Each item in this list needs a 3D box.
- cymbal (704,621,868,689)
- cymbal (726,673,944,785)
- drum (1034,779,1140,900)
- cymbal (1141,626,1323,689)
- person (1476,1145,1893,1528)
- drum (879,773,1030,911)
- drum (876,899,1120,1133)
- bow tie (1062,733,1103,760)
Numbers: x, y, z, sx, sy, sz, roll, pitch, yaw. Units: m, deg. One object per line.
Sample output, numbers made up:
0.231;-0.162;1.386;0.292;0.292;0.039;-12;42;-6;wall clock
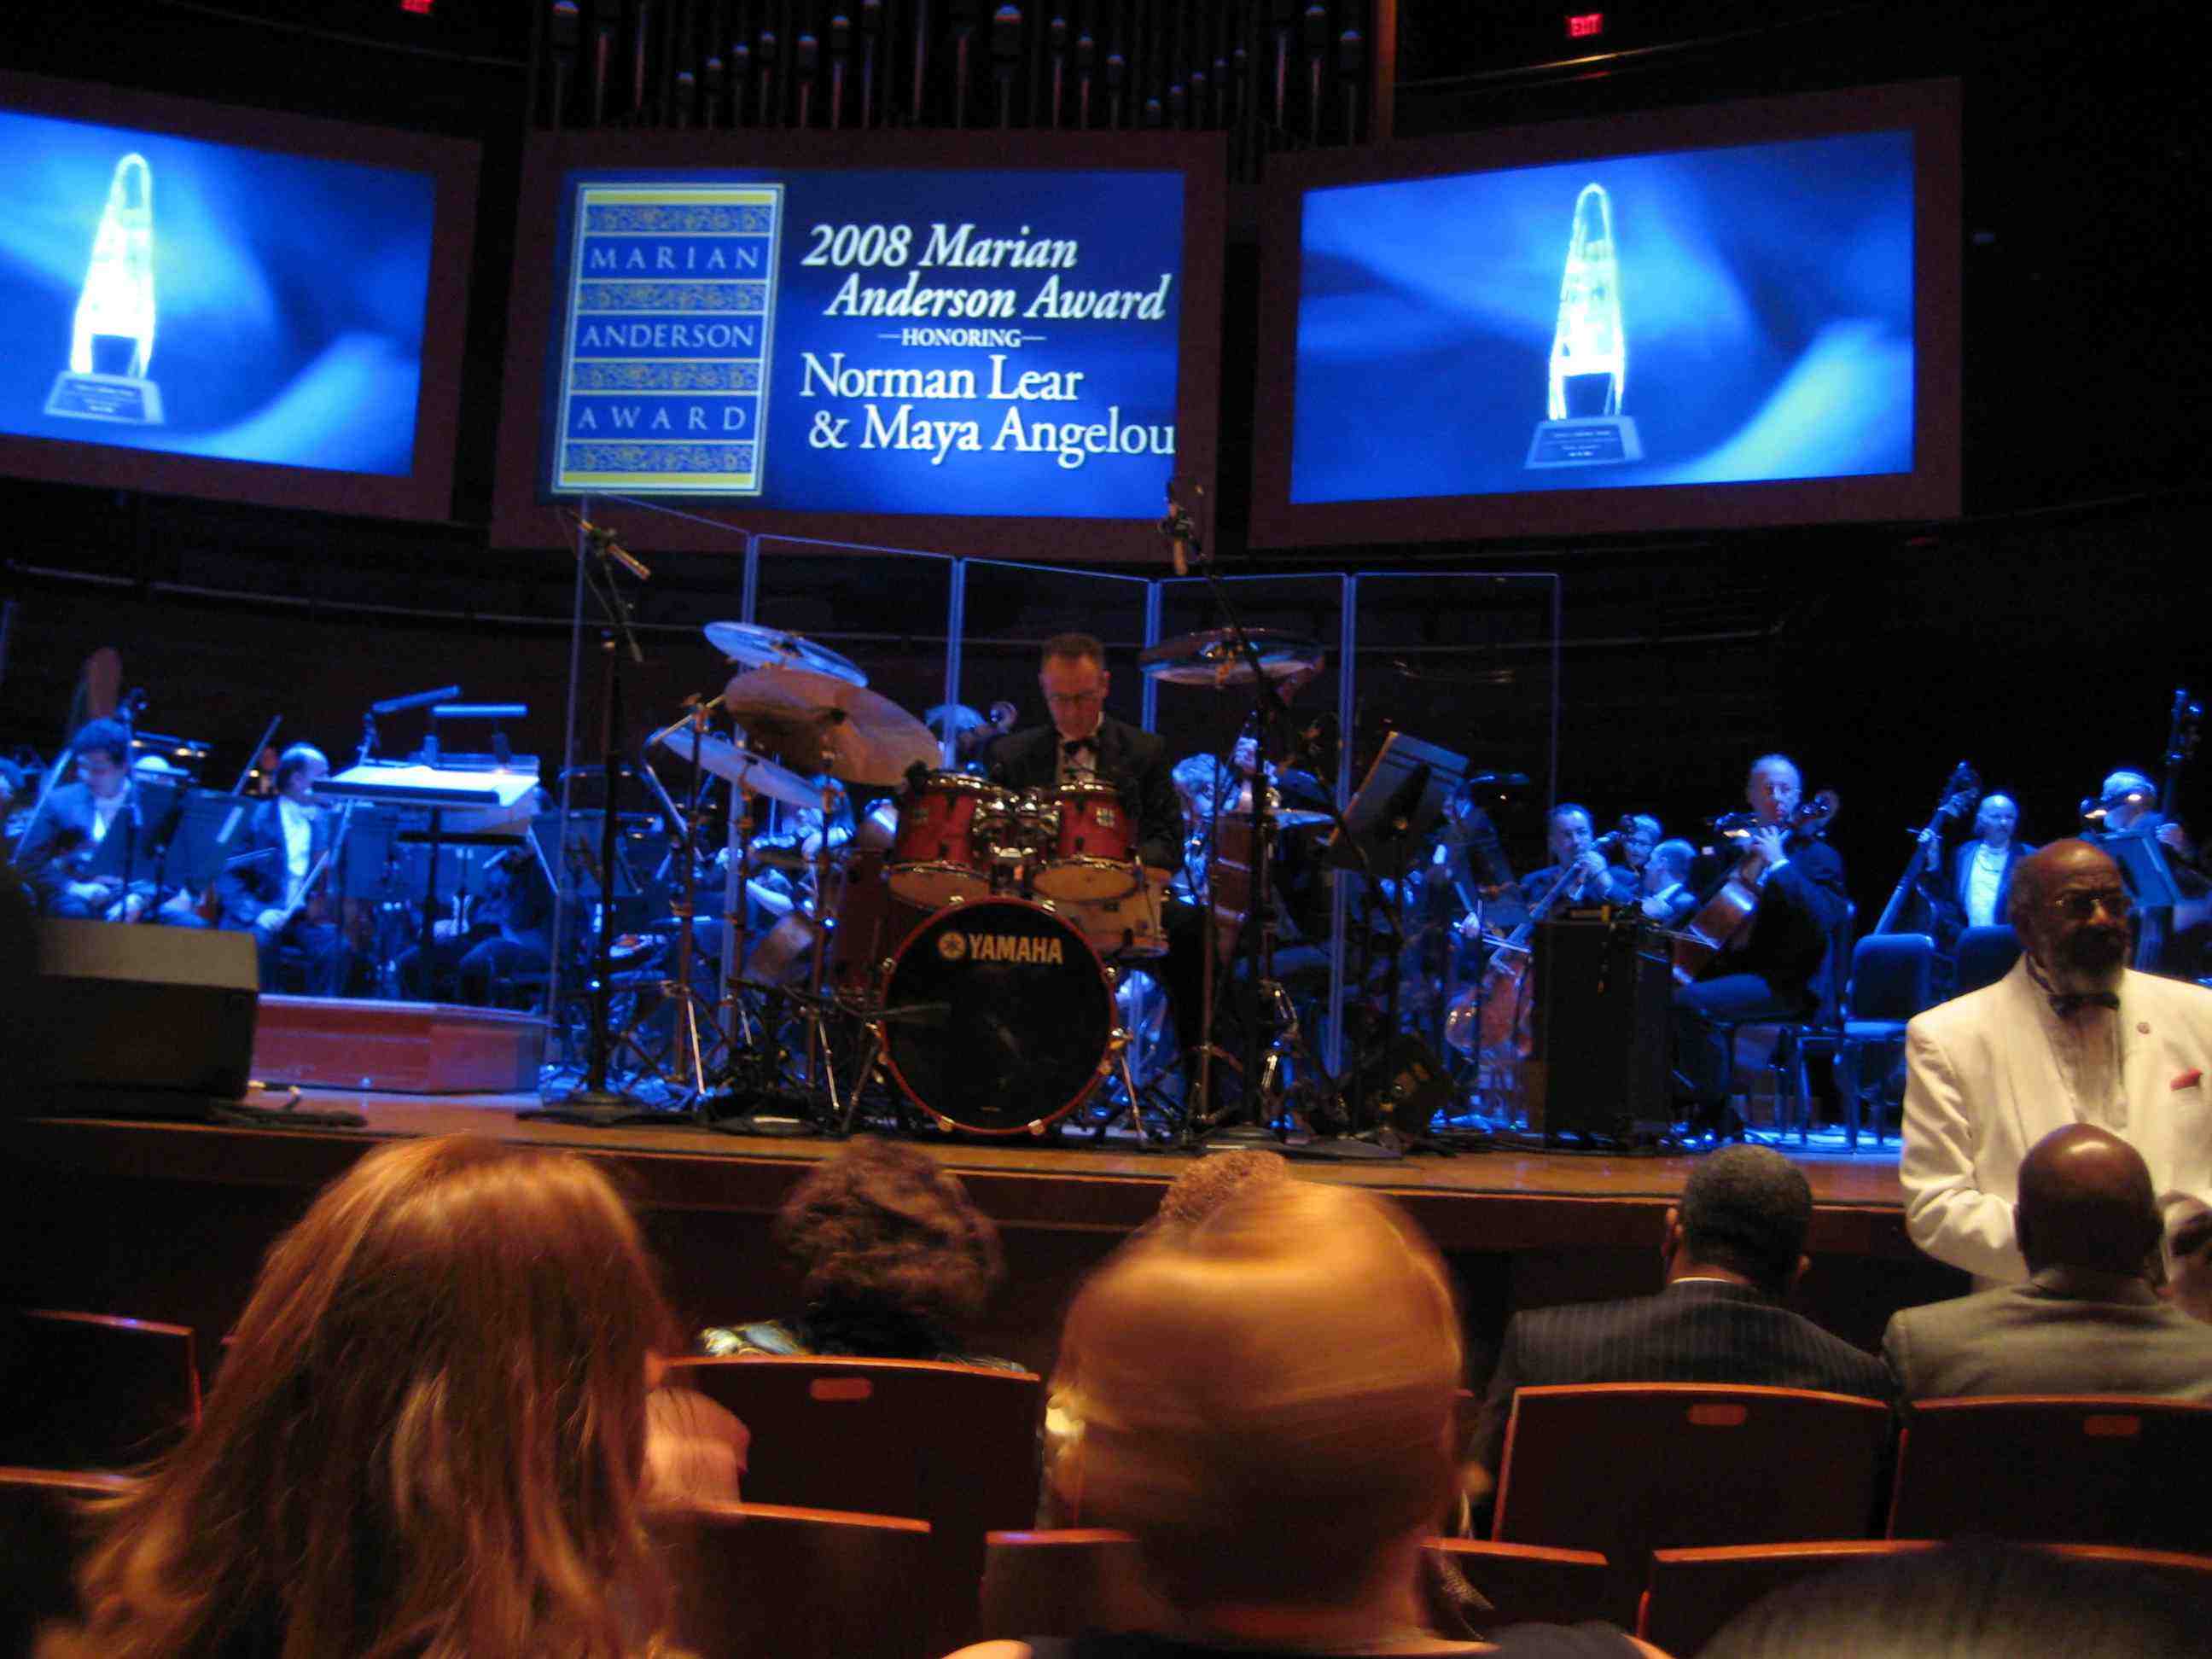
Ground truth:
-1.114;-0.604;7.897;0.401;0.087;0.396;24;9;13;cymbal
-0.925;-0.345;7.750;0.705;0.383;0.614;3;-1;-29;cymbal
-0.039;0.035;7.109;0.310;0.355;0.262;3;-1;-1;drum
0.455;-0.594;8.257;0.471;0.172;0.462;-7;-13;20;cymbal
1.311;1.128;5.101;0.971;0.800;0.505;9;-2;3;person
-0.442;0.043;7.143;0.423;0.354;0.430;-2;-3;41;drum
-0.320;0.551;7.088;0.661;0.605;0.425;-13;-4;2;drum
-0.078;-0.281;8.143;0.120;0.090;0.064;3;-1;-4;bow tie
